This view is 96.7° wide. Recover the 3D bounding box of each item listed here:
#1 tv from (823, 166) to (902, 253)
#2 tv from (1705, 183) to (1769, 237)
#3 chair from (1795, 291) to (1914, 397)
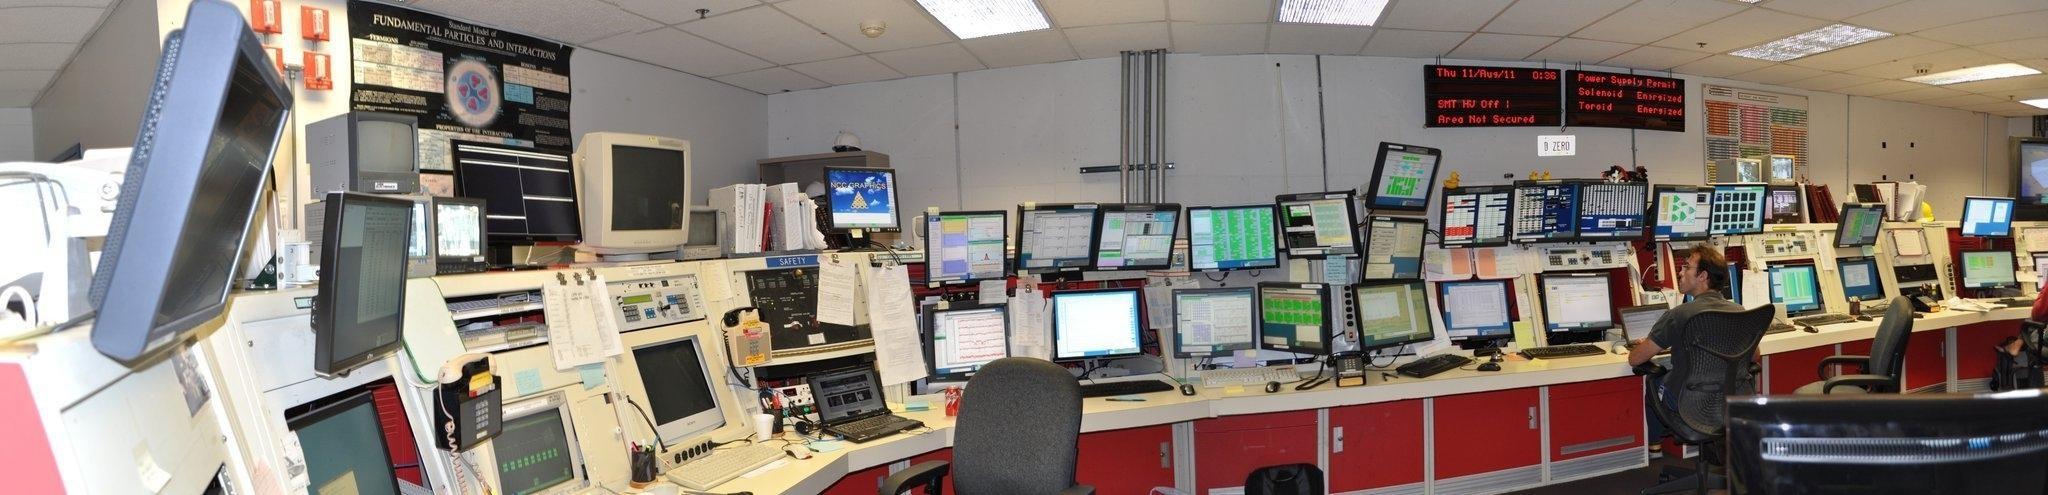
[{"bbox_3d":[-3.472,-0.857,19.366,1.774,1.569,1.031,-1,1,-10],"label":"tv"},{"bbox_3d":[15.594,-0.829,20.080,2.592,1.118,0.253,-2,5,-32],"label":"tv"},{"bbox_3d":[17.574,2.051,19.197,2.407,1.786,1.413,-6,0,-38],"label":"chair"}]
